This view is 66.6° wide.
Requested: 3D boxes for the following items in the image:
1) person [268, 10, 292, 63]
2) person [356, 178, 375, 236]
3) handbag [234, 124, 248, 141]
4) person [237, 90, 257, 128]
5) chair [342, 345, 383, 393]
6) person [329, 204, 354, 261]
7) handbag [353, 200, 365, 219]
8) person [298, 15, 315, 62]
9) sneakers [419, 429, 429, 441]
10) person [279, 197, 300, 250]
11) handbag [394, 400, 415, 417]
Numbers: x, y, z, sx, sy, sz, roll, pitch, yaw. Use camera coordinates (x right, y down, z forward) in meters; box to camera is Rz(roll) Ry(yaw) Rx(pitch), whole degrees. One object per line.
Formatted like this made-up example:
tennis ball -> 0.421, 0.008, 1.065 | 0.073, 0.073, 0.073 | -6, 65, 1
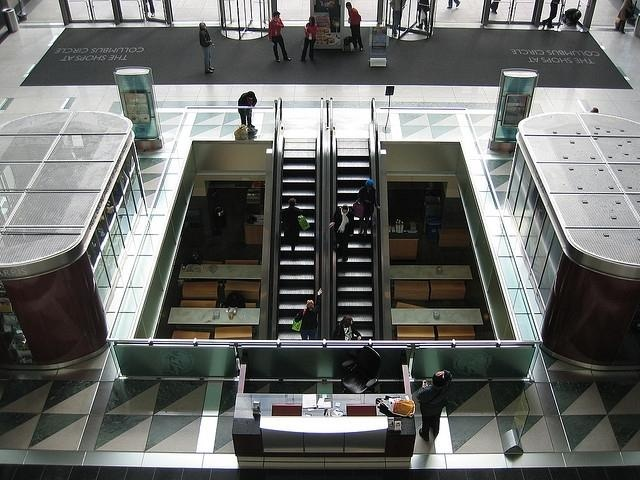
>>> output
person -> -1.679, -8.283, 19.724 | 0.723, 1.832, 1.085 | -3, 34, -3
person -> 1.205, -0.778, 12.566 | 0.474, 1.609, 0.488 | 0, 34, 1
handbag -> -2.474, -3.366, 15.322 | 0.322, 0.453, 0.460 | -2, 59, -3
person -> -2.362, -4.181, 15.588 | 0.585, 0.929, 0.821 | -3, 34, -4
chair -> 0.791, 2.602, 9.476 | 0.719, 0.950, 0.605 | 1, 34, 2
person -> 0.574, -0.244, 12.545 | 0.517, 1.645, 0.485 | 0, 34, 1
handbag -> 0.987, -0.783, 12.378 | 0.376, 0.534, 0.296 | 3, 59, 5
person -> -0.467, -8.203, 19.755 | 0.605, 1.682, 0.961 | 3, 34, 6
sneakers -> 1.923, 3.604, 9.074 | 0.138, 0.220, 0.229 | -9, 79, -3
person -> -0.749, -0.422, 12.578 | 0.609, 1.606, 0.371 | 12, 36, 18
handbag -> 1.446, 2.884, 8.369 | 0.319, 0.244, 0.127 | 4, 1, 4
